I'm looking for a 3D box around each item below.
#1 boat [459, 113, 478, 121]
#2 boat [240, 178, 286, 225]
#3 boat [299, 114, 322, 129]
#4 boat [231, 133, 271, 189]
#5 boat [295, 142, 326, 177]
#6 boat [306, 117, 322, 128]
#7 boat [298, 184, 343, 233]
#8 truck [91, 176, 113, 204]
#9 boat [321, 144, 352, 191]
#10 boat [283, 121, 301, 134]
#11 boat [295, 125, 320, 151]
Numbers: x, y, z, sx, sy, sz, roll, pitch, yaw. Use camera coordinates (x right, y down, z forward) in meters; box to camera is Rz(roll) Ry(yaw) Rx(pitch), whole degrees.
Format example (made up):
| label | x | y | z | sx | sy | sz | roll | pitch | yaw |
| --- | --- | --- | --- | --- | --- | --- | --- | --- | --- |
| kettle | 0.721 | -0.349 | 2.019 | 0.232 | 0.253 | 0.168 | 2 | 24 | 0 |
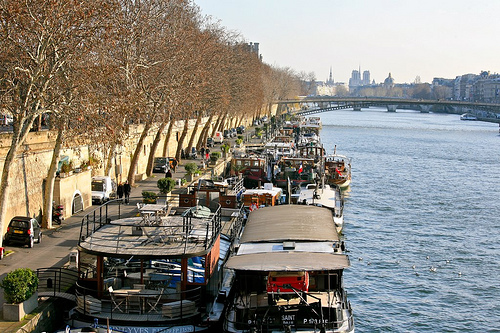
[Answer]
| label | x | y | z | sx | sy | sz | roll | pitch | yaw |
| --- | --- | --- | --- | --- | --- | --- | --- | --- | --- |
| boat | 83.772 | -18.921 | 214.950 | 5.367 | 2.188 | 3.213 | 4 | 6 | 20 |
| boat | 1.162 | 2.606 | 45.818 | 2.524 | 2.311 | 5.137 | 2 | 4 | 14 |
| boat | 21.250 | -16.470 | 190.593 | 5.467 | 2.099 | 152.483 | 3 | 6 | 6 |
| boat | 0.235 | 0.254 | 64.285 | 3.419 | 4.181 | 12.022 | -2 | 7 | 4 |
| boat | 7.734 | -1.508 | 72.087 | 2.816 | 3.955 | 9.589 | 5 | 8 | 5 |
| boat | 15.759 | -11.145 | 137.537 | 3.346 | 2.991 | 6.151 | 2 | 16 | 9 |
| boat | 4.865 | 2.846 | 38.534 | 2.192 | 1.915 | 7.630 | 2 | 13 | 5 |
| truck | -12.326 | 1.945 | 46.169 | 1.787 | 2.005 | 3.539 | 2 | 5 | 6 |
| boat | 10.727 | 0.563 | 69.280 | 3.358 | 4.604 | 11.009 | -1 | 2 | 5 |
| boat | 8.720 | -7.859 | 117.931 | 2.410 | 1.594 | 4.464 | 2 | 12 | 7 |
| boat | 9.938 | -5.316 | 95.680 | 2.638 | 3.064 | 12.457 | -1 | 0 | 7 |
